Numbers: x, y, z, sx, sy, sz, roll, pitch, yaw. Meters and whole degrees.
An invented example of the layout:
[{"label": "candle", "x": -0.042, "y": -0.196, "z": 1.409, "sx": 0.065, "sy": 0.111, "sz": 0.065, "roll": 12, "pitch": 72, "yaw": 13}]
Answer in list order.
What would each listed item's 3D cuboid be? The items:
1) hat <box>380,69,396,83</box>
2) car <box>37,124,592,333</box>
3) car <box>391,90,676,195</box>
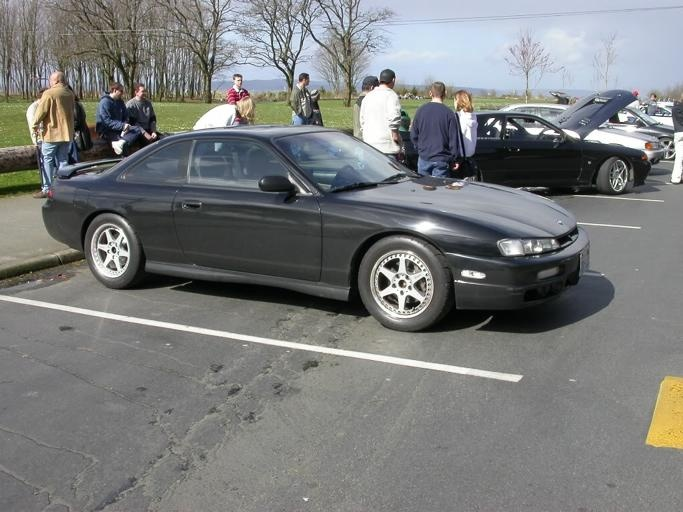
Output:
[{"label": "hat", "x": 0.812, "y": -3.265, "z": 8.103, "sx": 0.248, "sy": 0.218, "sz": 0.328, "roll": -1, "pitch": 15, "yaw": 1}, {"label": "car", "x": -0.406, "y": -0.458, "z": 5.014, "sx": 5.811, "sy": 1.972, "sz": 1.201, "roll": 5, "pitch": 16, "yaw": 21}, {"label": "car", "x": 5.033, "y": -2.705, "z": 11.467, "sx": 5.248, "sy": 1.837, "sz": 2.663, "roll": -1, "pitch": 15, "yaw": 1}]
